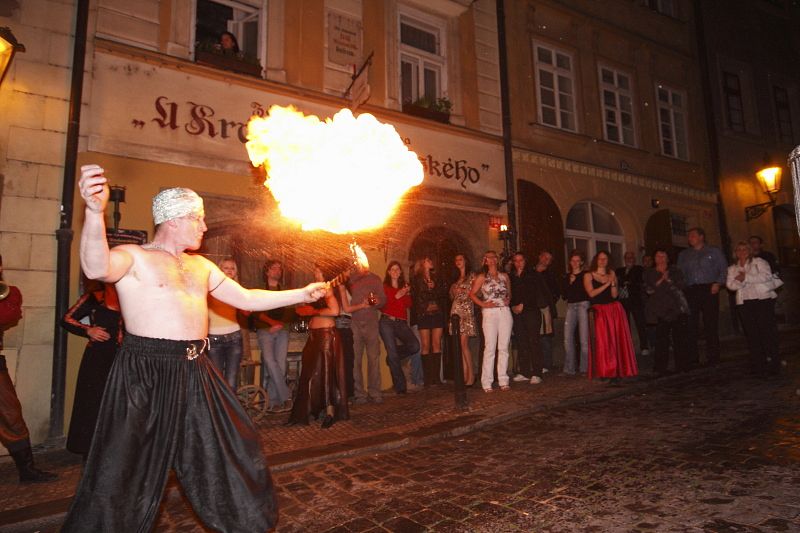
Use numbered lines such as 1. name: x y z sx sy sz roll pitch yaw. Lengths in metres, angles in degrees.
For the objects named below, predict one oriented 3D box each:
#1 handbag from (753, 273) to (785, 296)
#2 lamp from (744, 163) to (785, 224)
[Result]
1. handbag: 6.772 0.347 11.123 0.449 0.192 0.433 -2 2 34
2. lamp: 10.404 -2.225 17.540 0.965 1.694 2.046 -8 -9 30
